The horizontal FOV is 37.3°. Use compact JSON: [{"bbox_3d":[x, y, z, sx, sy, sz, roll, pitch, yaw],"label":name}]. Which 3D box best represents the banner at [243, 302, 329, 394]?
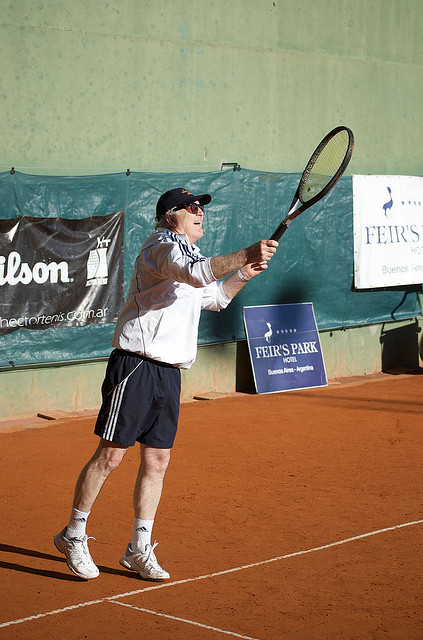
[{"bbox_3d":[1.012,0.439,8.969,1.331,1.282,0.059,2,-16,-37],"label":"banner"}]
